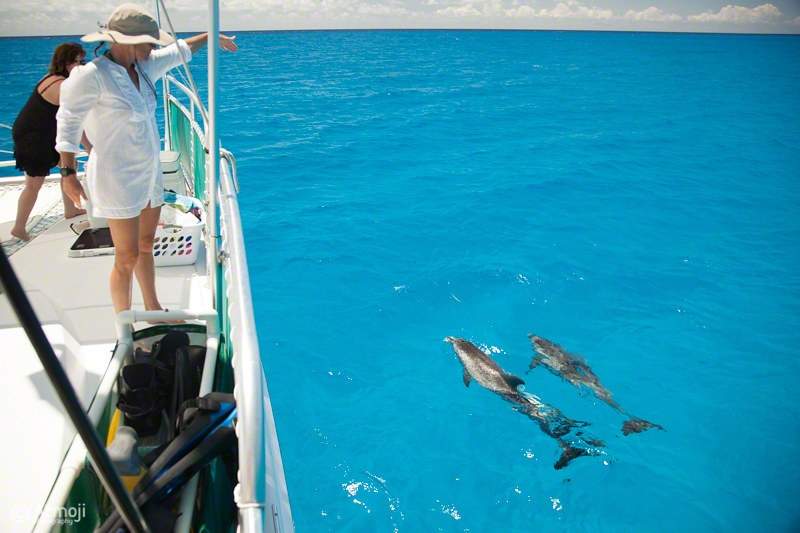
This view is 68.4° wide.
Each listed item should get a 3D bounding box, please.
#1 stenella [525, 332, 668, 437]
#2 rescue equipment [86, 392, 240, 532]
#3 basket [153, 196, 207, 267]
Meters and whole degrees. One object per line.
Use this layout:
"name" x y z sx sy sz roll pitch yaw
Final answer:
"stenella" 3.138 1.896 9.940 0.967 0.295 2.248 -15 37 -33
"rescue equipment" -1.632 1.396 4.513 0.388 0.565 0.956 22 33 40
"basket" -2.596 -0.420 7.085 0.697 0.387 0.809 -2 18 -10
